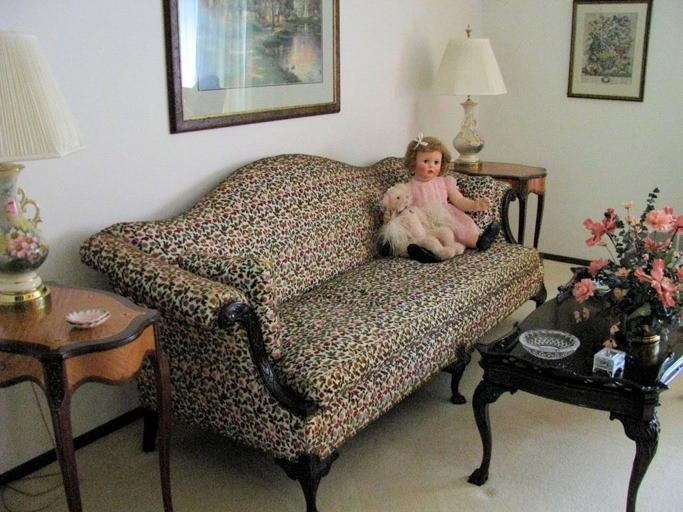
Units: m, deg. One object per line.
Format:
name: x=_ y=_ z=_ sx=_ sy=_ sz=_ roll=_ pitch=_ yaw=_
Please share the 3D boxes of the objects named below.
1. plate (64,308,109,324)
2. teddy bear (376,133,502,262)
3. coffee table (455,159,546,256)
plate: x=-0.854 y=0.201 z=1.863 sx=0.073 sy=0.021 sz=0.074 roll=0 pitch=12 yaw=-3
teddy bear: x=0.602 y=-0.329 z=3.591 sx=0.771 sy=0.902 sz=0.741 roll=-10 pitch=19 yaw=-16
coffee table: x=1.185 y=-0.344 z=4.198 sx=0.607 sy=0.588 sz=0.378 roll=13 pitch=23 yaw=42
